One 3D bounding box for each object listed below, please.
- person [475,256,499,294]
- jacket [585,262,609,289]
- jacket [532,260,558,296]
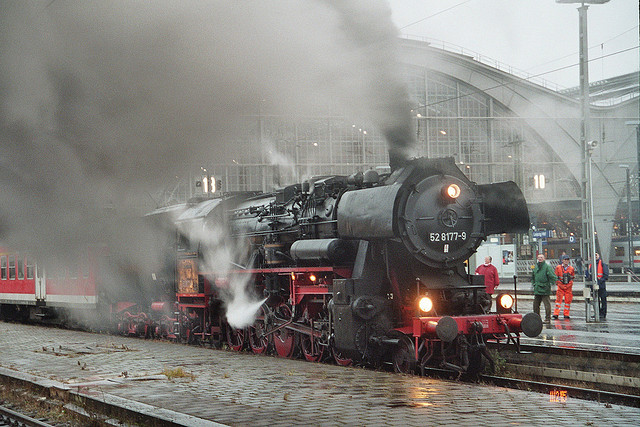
[{"bbox_3d":[5.361,2.264,20.742,0.793,1.753,0.552,-3,-26,22],"label":"person"},{"bbox_3d":[9.334,2.124,21.686,0.517,0.918,0.702,13,-16,-36],"label":"jacket"},{"bbox_3d":[7.620,2.213,21.754,0.730,0.888,0.492,-2,-1,18],"label":"jacket"}]
